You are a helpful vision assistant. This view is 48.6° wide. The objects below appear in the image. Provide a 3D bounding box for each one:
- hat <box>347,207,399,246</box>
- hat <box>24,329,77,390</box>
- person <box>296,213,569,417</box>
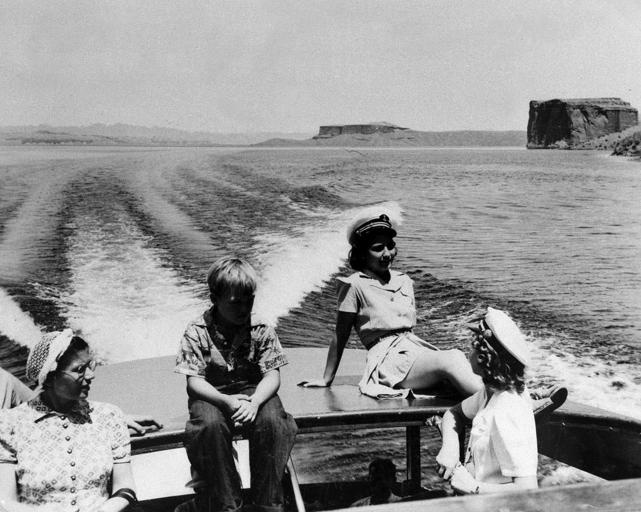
[{"bbox_3d":[0.226,-0.148,3.387,0.220,0.098,0.245,-16,-15,-40],"label":"hat"},{"bbox_3d":[-0.884,0.324,2.356,0.091,0.179,0.165,29,-5,34],"label":"hat"},{"bbox_3d":[0.540,0.244,3.186,0.697,0.803,1.121,-9,12,-43],"label":"person"}]
